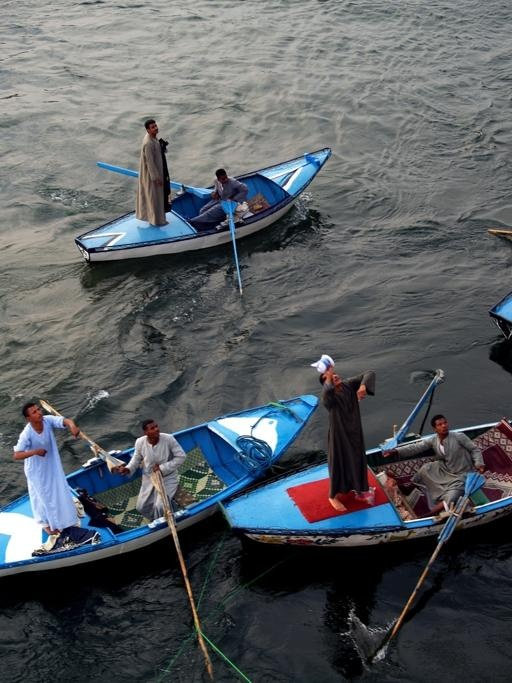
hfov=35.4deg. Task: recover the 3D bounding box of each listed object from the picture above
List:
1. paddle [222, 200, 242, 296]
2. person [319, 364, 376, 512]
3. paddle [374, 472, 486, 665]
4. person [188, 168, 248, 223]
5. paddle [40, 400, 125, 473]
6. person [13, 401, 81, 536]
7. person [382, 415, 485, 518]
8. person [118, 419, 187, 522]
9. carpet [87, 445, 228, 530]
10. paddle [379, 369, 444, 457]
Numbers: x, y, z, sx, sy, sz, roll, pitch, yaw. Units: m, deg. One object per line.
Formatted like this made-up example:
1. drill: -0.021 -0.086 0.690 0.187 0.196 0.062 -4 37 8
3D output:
1. paddle: -0.417 -2.007 17.077 0.405 0.441 2.032 -11 75 -4
2. person: 1.184 1.155 10.197 0.726 2.168 0.741 -2 35 0
3. paddle: 2.255 2.988 10.302 3.192 0.355 0.173 -45 9 -28
4. person: -0.788 -3.104 17.226 1.121 1.503 0.706 21 40 31
5. paddle: -2.607 1.470 12.160 0.358 1.830 0.255 -53 3 -7
6. person: -2.655 1.655 10.374 0.720 1.951 0.723 1 35 5
7. person: 2.469 1.770 11.092 1.079 1.442 1.304 -15 1 -36
8. person: -1.347 1.712 10.793 0.600 1.639 0.555 11 37 18
9. carpet: -1.405 2.173 11.735 1.807 0.269 1.067 -18 42 -27
10. paddle: 2.436 1.144 12.505 1.439 0.316 0.279 -55 22 -19
